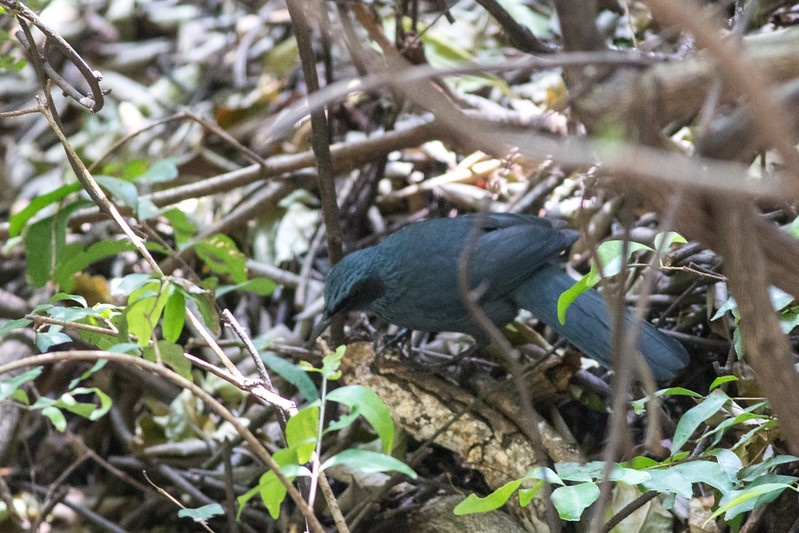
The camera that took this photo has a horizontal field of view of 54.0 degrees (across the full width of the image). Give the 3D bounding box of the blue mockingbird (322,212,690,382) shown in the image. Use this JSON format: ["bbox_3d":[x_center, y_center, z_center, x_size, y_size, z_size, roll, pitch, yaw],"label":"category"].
[{"bbox_3d":[0.333,0.170,3.581,1.980,0.640,0.596,4,56,9],"label":"blue mockingbird"}]
